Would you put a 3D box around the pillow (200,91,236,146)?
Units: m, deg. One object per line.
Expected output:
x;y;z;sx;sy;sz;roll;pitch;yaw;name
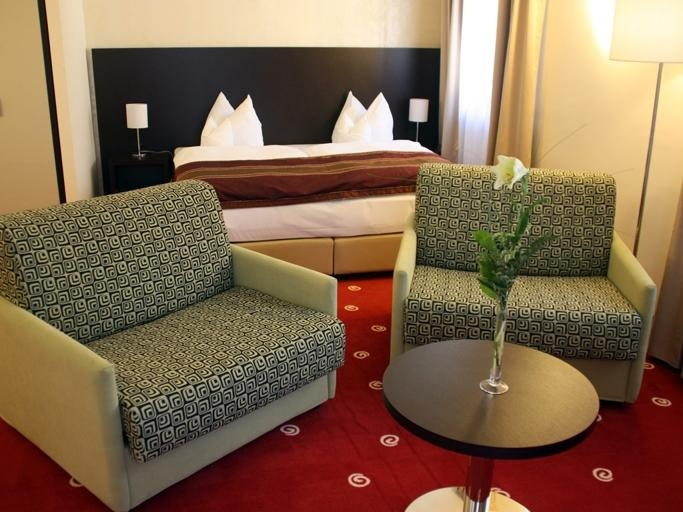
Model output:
-1.445;-1.498;5.764;0.159;0.589;0.561;9;13;14;pillow

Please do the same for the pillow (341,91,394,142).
0.273;-1.607;5.984;0.203;0.612;0.575;14;14;29;pillow

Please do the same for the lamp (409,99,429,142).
0.940;-1.655;6.333;0.253;0.519;0.372;4;21;8;lamp

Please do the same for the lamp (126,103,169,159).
-2.109;-1.362;5.592;0.418;0.556;0.482;-8;23;-22;lamp

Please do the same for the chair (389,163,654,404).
1.009;0.120;3.054;1.272;1.127;1.050;2;17;12;chair

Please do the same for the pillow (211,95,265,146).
-1.158;-1.493;5.759;0.150;0.526;0.516;7;34;33;pillow
